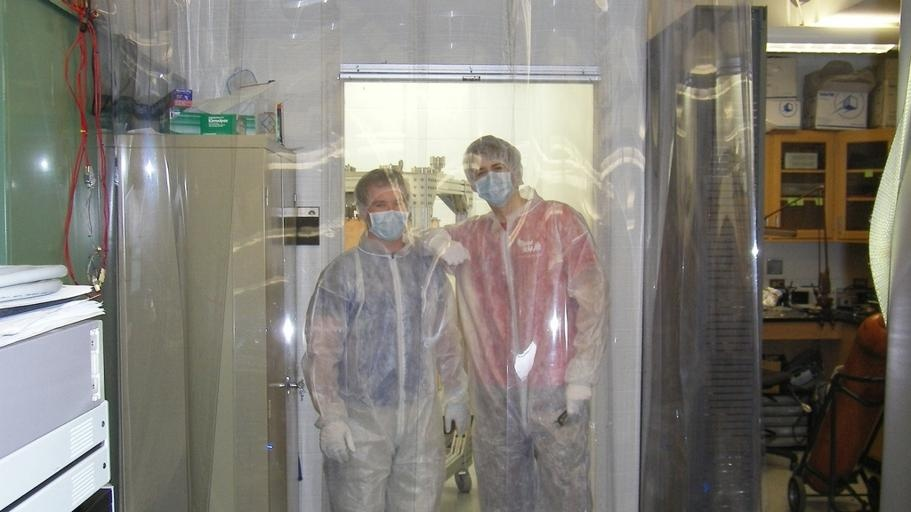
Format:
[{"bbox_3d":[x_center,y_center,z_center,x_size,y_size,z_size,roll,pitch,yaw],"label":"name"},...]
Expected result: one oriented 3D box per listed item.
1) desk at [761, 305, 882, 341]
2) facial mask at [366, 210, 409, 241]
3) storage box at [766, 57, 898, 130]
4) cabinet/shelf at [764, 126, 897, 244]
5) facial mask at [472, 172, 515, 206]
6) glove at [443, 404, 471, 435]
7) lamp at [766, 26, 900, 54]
[{"bbox_3d":[2.137,0.399,5.040,0.613,0.224,0.273,3,9,20],"label":"desk"},{"bbox_3d":[-0.250,-0.115,3.140,0.115,0.095,0.117,-1,-3,-9],"label":"facial mask"},{"bbox_3d":[2.213,-0.967,5.049,0.697,0.439,0.251,3,9,24],"label":"storage box"},{"bbox_3d":[2.151,-0.425,4.867,0.673,0.650,0.244,0,0,3],"label":"cabinet/shelf"},{"bbox_3d":[0.146,-0.245,3.187,0.114,0.085,0.131,-2,0,2],"label":"facial mask"},{"bbox_3d":[0.008,0.599,3.218,0.106,0.108,0.103,9,14,35],"label":"glove"},{"bbox_3d":[2.111,-1.211,4.832,0.842,0.124,0.237,-3,9,-14],"label":"lamp"}]
